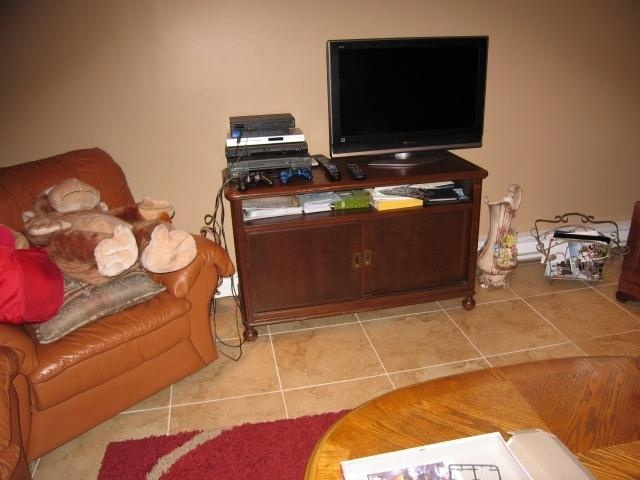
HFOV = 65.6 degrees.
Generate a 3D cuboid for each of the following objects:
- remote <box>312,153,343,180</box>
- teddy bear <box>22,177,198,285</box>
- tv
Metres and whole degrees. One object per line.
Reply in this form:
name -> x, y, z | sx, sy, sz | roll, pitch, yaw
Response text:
remote -> 0.053, -0.451, 2.936 | 0.079, 0.057, 0.329 | -9, 27, -10
teddy bear -> -1.238, -0.114, 2.796 | 0.970, 0.346, 0.752 | -15, -14, 40
tv -> 0.512, -0.831, 3.000 | 0.958, 0.690, 0.238 | -6, 18, -9
